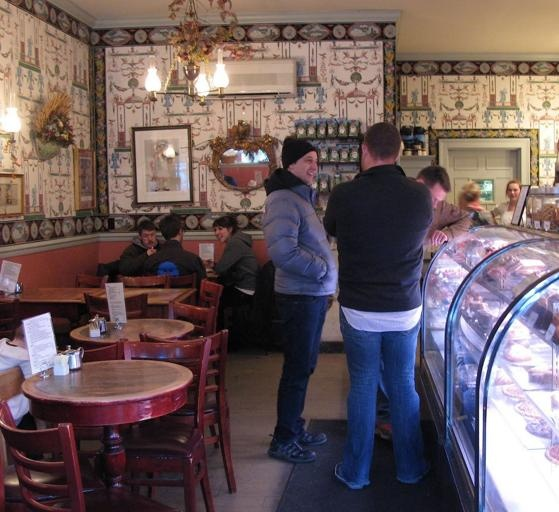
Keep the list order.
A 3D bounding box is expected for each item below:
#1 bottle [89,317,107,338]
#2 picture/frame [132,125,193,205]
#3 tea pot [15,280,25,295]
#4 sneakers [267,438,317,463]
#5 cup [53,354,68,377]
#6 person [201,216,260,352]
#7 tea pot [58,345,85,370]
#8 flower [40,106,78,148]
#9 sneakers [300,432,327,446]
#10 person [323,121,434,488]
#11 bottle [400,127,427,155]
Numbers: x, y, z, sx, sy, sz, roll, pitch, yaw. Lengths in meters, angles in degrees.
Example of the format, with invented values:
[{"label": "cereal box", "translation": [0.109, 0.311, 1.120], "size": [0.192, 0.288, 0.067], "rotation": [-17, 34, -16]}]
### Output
[{"label": "bottle", "translation": [-1.010, 0.381, 3.093], "size": [0.093, 0.097, 0.193], "rotation": [-5, 5, -16]}, {"label": "picture/frame", "translation": [-1.305, -1.074, 6.340], "size": [0.845, 1.109, 0.047], "rotation": [-1, 1, 3]}, {"label": "tea pot", "translation": [-2.079, 0.257, 4.461], "size": [0.053, 0.094, 0.091], "rotation": [1, 4, -12]}, {"label": "sneakers", "translation": [0.073, 1.104, 3.203], "size": [0.268, 0.122, 0.108], "rotation": [-1, -6, 17]}, {"label": "cup", "translation": [-0.886, 0.438, 2.257], "size": [0.062, 0.074, 0.069], "rotation": [-5, 5, -22]}, {"label": "person", "translation": [-0.505, 0.254, 5.665], "size": [0.523, 1.309, 0.511], "rotation": [6, -5, -22]}, {"label": "tea pot", "translation": [-0.885, 0.428, 2.377], "size": [0.083, 0.101, 0.129], "rotation": [-4, -5, 17]}, {"label": "flower", "translation": [-2.158, -1.246, 5.379], "size": [0.126, 0.333, 0.450], "rotation": [-3, 5, 9]}, {"label": "sneakers", "translation": [0.199, 1.097, 3.364], "size": [0.183, 0.088, 0.069], "rotation": [-2, 0, 2]}, {"label": "person", "translation": [0.494, 0.363, 2.685], "size": [0.510, 1.586, 0.327], "rotation": [-3, 4, 3]}, {"label": "bottle", "translation": [1.674, -1.455, 7.048], "size": [0.332, 0.478, 0.168], "rotation": [-1, 0, -8]}]
